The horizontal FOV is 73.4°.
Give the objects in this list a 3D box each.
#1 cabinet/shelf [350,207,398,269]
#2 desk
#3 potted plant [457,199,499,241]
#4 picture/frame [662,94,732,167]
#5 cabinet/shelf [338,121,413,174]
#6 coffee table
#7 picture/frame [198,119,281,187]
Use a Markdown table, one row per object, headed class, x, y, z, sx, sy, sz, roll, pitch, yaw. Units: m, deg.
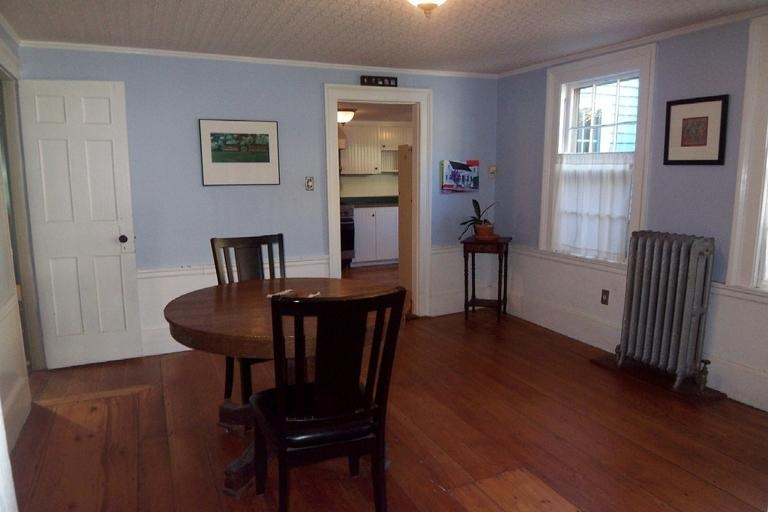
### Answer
| class | x | y | z | sx | sy | sz | roll | pitch | yaw |
| --- | --- | --- | --- | --- | --- | --- | --- | --- | --- |
| cabinet/shelf | -0.041 | -0.320 | 8.774 | 0.878 | 0.858 | 0.501 | -1 | 0 | 18 |
| desk | -0.898 | 0.854 | 3.849 | 1.480 | 1.001 | 1.491 | 0 | 8 | -7 |
| potted plant | 1.083 | -0.409 | 6.012 | 0.451 | 0.330 | 0.463 | 1 | 8 | 28 |
| picture/frame | 2.651 | -1.054 | 4.326 | 0.026 | 0.678 | 0.568 | 0 | 10 | -32 |
| cabinet/shelf | -0.144 | -1.940 | 9.307 | 1.377 | 0.956 | 0.272 | -6 | 12 | -17 |
| coffee table | 1.173 | 0.253 | 5.932 | 0.708 | 0.856 | 0.687 | -4 | 6 | -31 |
| picture/frame | -1.419 | -1.042 | 5.127 | 0.751 | 0.674 | 0.031 | -5 | 32 | -22 |
